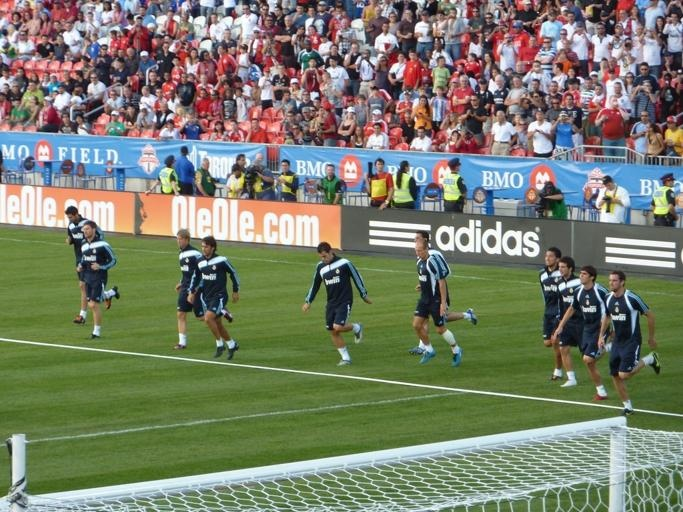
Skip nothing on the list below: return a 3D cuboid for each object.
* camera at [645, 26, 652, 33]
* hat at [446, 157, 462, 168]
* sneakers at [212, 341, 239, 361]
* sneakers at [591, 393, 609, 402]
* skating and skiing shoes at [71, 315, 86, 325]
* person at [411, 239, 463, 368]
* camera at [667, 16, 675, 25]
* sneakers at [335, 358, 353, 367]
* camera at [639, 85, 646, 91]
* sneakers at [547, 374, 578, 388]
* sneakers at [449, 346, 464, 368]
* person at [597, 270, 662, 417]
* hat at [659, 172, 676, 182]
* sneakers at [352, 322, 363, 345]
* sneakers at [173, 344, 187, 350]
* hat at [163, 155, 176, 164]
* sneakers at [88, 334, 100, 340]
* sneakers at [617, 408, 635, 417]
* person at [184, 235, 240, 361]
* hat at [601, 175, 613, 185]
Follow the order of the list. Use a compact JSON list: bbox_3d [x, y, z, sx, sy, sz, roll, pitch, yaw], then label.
[{"bbox_3d":[7.721,-5.790,39.123,0.206,0.099,0.175,3,13,16],"label":"camera"},{"bbox_3d":[2.714,-2.290,37.794,0.272,0.271,0.644,0,12,2],"label":"hat"},{"bbox_3d":[-2.233,1.866,29.689,0.494,0.258,0.253,-34,-19,-22],"label":"sneakers"},{"bbox_3d":[4.456,2.478,26.800,0.263,0.116,0.092,3,6,6],"label":"sneakers"},{"bbox_3d":[-5.523,1.345,32.324,0.333,0.164,0.123,6,2,32],"label":"skating and skiing shoes"},{"bbox_3d":[1.779,0.799,29.051,0.888,2.486,0.777,0,12,4],"label":"person"},{"bbox_3d":[8.380,-6.098,39.597,0.144,0.218,0.094,4,13,19],"label":"camera"},{"bbox_3d":[0.026,2.032,29.067,0.307,0.140,0.106,1,4,5],"label":"sneakers"},{"bbox_3d":[7.414,-4.196,38.227,0.056,0.144,0.163,-12,16,-42],"label":"camera"},{"bbox_3d":[3.952,2.285,27.751,0.173,0.248,0.563,1,-6,-22],"label":"sneakers"},{"bbox_3d":[2.119,1.892,28.955,0.144,0.416,0.173,9,3,18],"label":"sneakers"},{"bbox_3d":[4.818,1.430,26.349,0.762,2.359,1.125,8,15,35],"label":"person"},{"bbox_3d":[7.439,-1.793,35.463,0.278,0.272,0.544,2,13,10],"label":"hat"},{"bbox_3d":[0.294,1.488,29.802,0.186,0.441,0.150,-9,33,-15],"label":"sneakers"},{"bbox_3d":[-3.174,1.793,30.154,0.235,0.108,0.088,2,4,-7],"label":"sneakers"},{"bbox_3d":[-4.594,-2.590,40.958,0.210,0.213,0.265,2,21,6],"label":"hat"},{"bbox_3d":[-4.943,1.612,30.893,0.184,0.084,0.075,-3,12,-9],"label":"sneakers"},{"bbox_3d":[4.752,2.643,25.969,0.261,0.185,0.090,4,3,17],"label":"sneakers"},{"bbox_3d":[-2.478,0.794,29.734,0.946,2.264,1.052,-2,12,-6],"label":"person"},{"bbox_3d":[6.059,-1.775,35.525,0.238,0.229,0.177,13,-5,15],"label":"hat"}]
